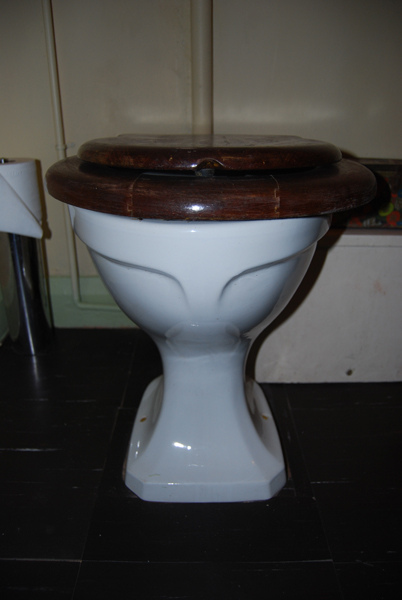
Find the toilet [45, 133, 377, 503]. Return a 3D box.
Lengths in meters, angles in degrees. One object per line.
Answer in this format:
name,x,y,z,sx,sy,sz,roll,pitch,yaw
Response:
toilet,-0.002,-0.015,0.834,0.466,0.480,0.533,1,24,3
